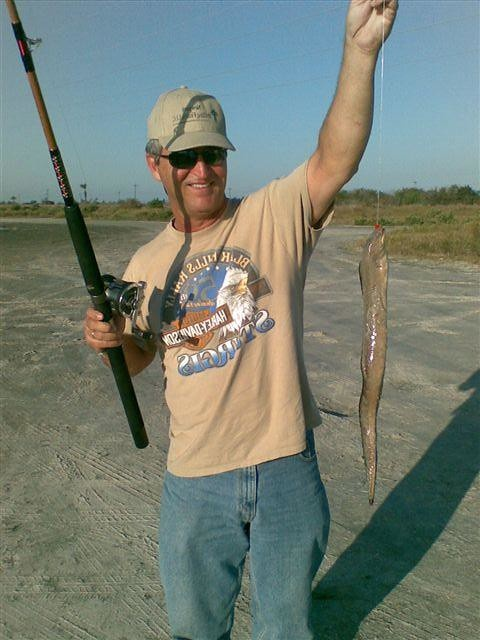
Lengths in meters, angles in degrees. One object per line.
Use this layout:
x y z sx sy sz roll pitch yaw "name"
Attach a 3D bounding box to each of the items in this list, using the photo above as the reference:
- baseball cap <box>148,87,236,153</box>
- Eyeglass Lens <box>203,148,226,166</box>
-0.206 -0.833 2.415 0.323 0.199 0.415 -5 31 -13 "baseball cap"
-0.100 -0.654 2.335 0.082 0.036 0.080 -8 21 0 "Eyeglass Lens"
